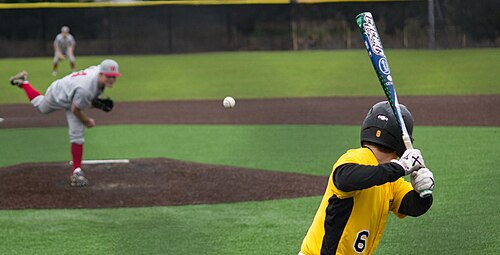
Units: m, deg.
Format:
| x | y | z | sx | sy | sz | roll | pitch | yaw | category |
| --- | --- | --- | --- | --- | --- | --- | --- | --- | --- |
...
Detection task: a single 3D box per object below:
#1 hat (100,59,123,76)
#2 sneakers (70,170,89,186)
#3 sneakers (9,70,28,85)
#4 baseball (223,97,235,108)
| x | y | z | sx | sy | sz | roll | pitch | yaw | category |
| --- | --- | --- | --- | --- | --- | --- | --- | --- | --- |
| -3.403 | -1.451 | 19.693 | 0.386 | 0.261 | 0.500 | 2 | 18 | -41 | hat |
| -4.246 | 1.290 | 19.950 | 0.292 | 0.211 | 0.485 | -5 | 25 | -27 | sneakers |
| -5.755 | -1.228 | 20.116 | 0.451 | 0.277 | 0.159 | -34 | 5 | -7 | sneakers |
| -0.510 | -0.624 | 20.022 | 0.293 | 0.206 | 0.283 | 3 | 11 | -36 | baseball |
